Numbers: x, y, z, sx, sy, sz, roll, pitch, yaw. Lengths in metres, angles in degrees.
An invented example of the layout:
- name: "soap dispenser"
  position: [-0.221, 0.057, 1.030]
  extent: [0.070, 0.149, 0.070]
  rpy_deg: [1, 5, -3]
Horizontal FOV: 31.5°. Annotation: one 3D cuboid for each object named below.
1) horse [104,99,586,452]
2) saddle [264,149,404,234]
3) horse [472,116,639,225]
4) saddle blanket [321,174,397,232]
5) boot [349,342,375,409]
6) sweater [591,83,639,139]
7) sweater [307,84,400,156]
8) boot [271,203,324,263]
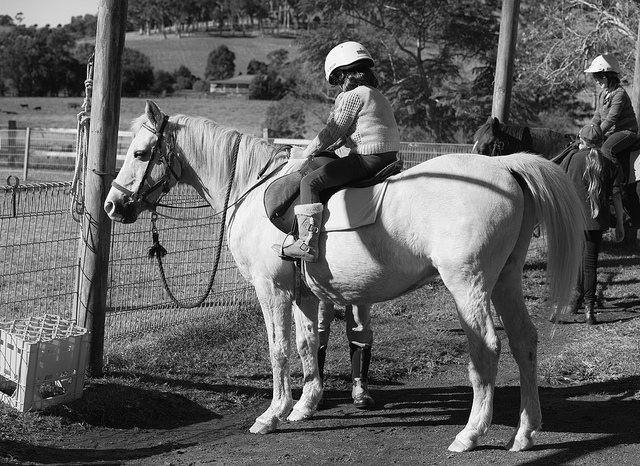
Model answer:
- name: "horse"
  position: [0.263, 0.687, 16.350]
  extent: [7.117, 4.586, 1.786]
  rpy_deg: [2, 6, 20]
- name: "saddle"
  position: [-0.035, -0.542, 15.741]
  extent: [1.634, 1.475, 1.224]
  rpy_deg: [3, 21, -28]
- name: "horse"
  position: [3.795, -0.998, 18.852]
  extent: [0.758, 1.691, 2.244]
  rpy_deg: [0, 1, 1]
- name: "saddle blanket"
  position: [0.488, -0.373, 15.393]
  extent: [0.932, 0.670, 0.050]
  rpy_deg: [-3, -12, 12]
- name: "boot"
  position: [0.627, 2.020, 16.297]
  extent: [0.347, 0.863, 0.796]
  rpy_deg: [-3, 11, -6]
- name: "sweater"
  position: [5.255, -2.115, 19.637]
  extent: [0.921, 1.008, 0.843]
  rpy_deg: [-2, 12, -1]
- name: "sweater"
  position: [0.529, -1.499, 15.462]
  extent: [1.040, 1.023, 0.695]
  rpy_deg: [2, 9, 17]
- name: "boot"
  position: [-0.213, 0.009, 15.432]
  extent: [0.546, 0.771, 0.341]
  rpy_deg: [-1, -11, 1]
